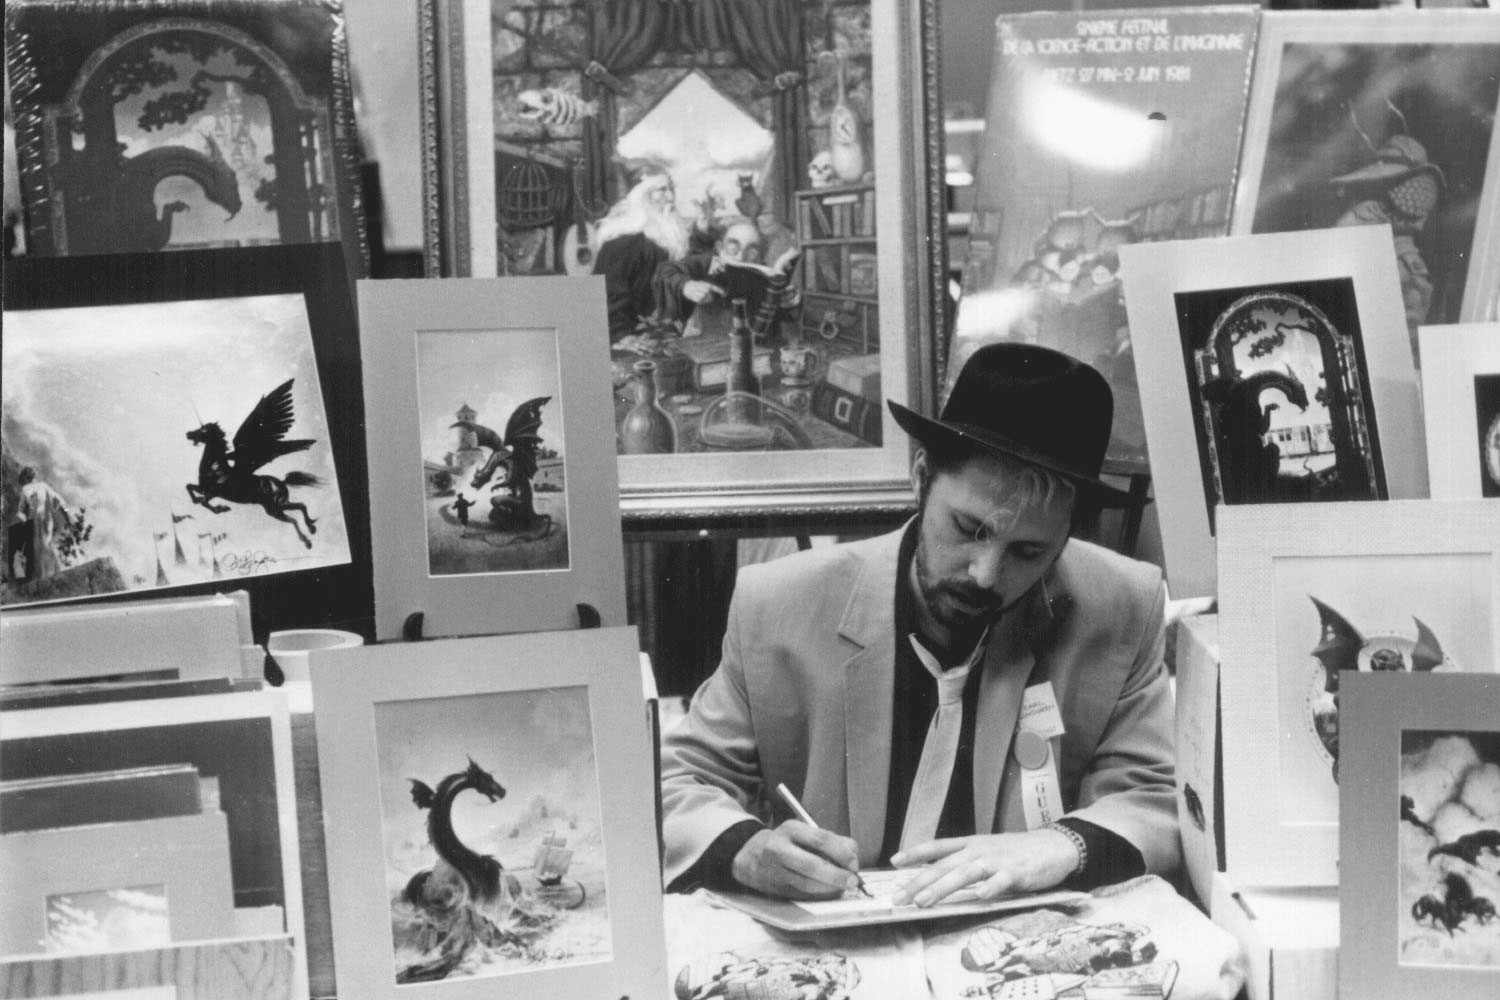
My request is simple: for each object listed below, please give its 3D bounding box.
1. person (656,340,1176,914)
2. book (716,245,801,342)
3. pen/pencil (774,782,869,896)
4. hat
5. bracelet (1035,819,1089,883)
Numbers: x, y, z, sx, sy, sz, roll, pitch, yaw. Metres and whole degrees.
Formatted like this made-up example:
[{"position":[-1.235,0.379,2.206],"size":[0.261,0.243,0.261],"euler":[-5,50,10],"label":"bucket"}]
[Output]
[{"position":[0.289,0.209,3.289],"size":[0.816,1.209,0.747],"euler":[2,-2,-4],"label":"person"},{"position":[0.012,-0.294,2.959],"size":[0.121,0.117,0.048],"euler":[-23,3,-2],"label":"book"},{"position":[0.103,0.479,2.894],"size":[0.021,0.021,0.200],"euler":[-15,49,-37],"label":"pen/pencil"},{"position":[0.396,-0.119,2.969],"size":[0.259,0.097,0.236],"euler":[22,-8,-6],"label":"hat"},{"position":[0.441,0.491,2.899],"size":[0.049,0.063,0.056],"euler":[-2,1,-23],"label":"bracelet"}]
